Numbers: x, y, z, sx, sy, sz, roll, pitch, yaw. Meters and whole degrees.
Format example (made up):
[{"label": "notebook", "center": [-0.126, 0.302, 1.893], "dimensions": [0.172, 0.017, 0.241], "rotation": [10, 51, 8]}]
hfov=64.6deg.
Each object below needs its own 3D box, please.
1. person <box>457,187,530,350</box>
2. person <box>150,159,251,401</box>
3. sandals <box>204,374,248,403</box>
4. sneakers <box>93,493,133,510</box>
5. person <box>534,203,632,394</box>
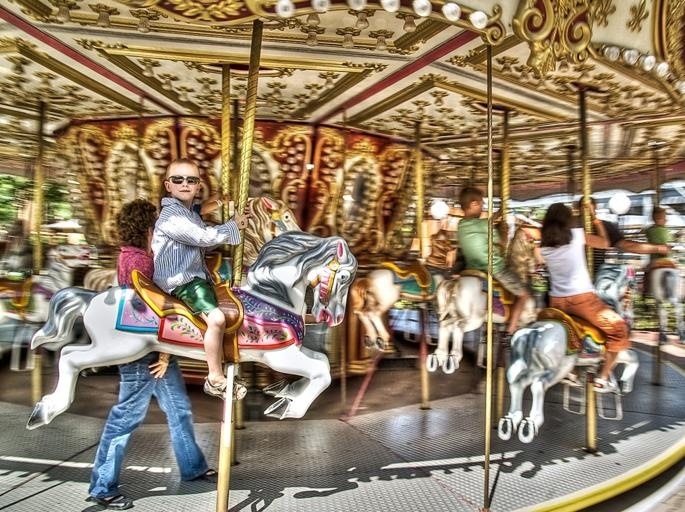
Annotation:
[{"label": "person", "center": [1.318, 0.058, 4.735], "dimensions": [0.653, 1.318, 1.851], "rotation": [3, 6, 11]}, {"label": "person", "center": [-0.891, 0.141, 3.302], "dimensions": [0.410, 1.459, 0.466], "rotation": [-4, 9, -39]}, {"label": "sandals", "center": [-0.717, 0.822, 3.367], "dimensions": [0.388, 0.173, 0.121], "rotation": [-2, -38, -8]}, {"label": "sneakers", "center": [-1.412, 1.522, 3.367], "dimensions": [0.262, 0.068, 0.084], "rotation": [0, 11, 3]}, {"label": "person", "center": [1.802, 0.321, 4.055], "dimensions": [0.647, 1.420, 0.210], "rotation": [4, 7, 20]}]
